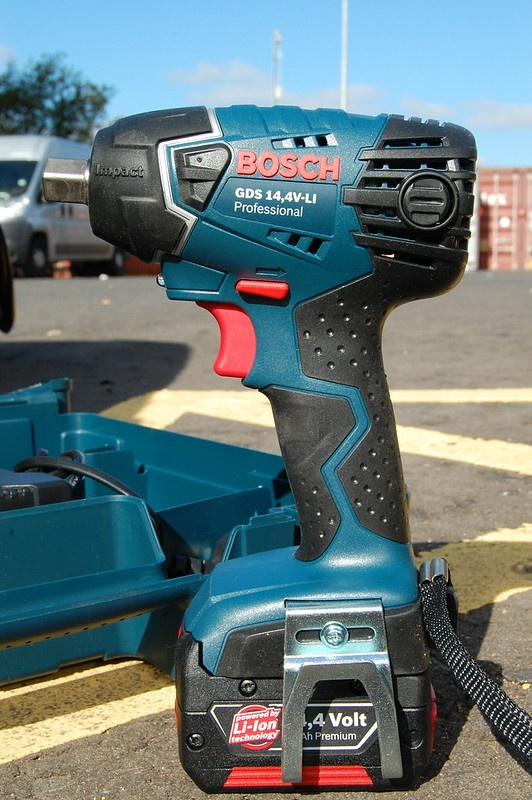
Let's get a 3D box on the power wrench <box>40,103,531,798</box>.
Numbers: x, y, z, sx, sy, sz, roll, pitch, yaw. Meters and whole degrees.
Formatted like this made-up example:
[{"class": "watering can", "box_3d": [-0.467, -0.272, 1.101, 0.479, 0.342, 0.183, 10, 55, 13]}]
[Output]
[{"class": "power wrench", "box_3d": [0.026, 0.083, 1.186, 0.583, 1.051, 0.256, -1, 6, 16]}]
